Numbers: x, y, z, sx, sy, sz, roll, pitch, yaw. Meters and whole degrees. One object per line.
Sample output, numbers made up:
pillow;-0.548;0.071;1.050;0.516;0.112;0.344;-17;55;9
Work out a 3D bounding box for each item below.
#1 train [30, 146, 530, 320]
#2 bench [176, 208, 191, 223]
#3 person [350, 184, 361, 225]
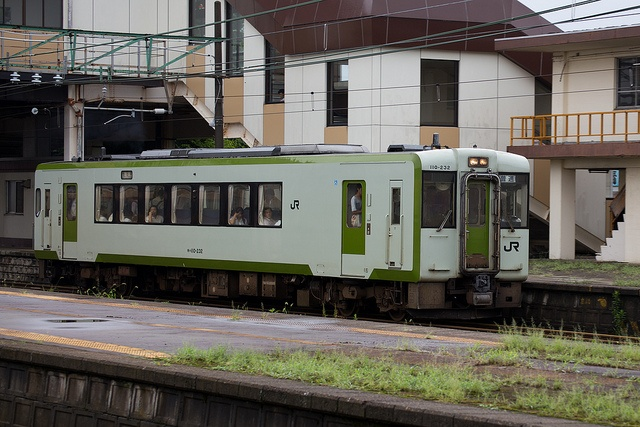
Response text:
train;-2.103;0.306;23.773;15.954;4.695;3.419;0;13;32
bench;-3.893;0.087;23.218;0.403;0.420;0.104;2;-2;30
person;0.887;-0.171;20.166;0.342;1.016;0.245;5;15;44
